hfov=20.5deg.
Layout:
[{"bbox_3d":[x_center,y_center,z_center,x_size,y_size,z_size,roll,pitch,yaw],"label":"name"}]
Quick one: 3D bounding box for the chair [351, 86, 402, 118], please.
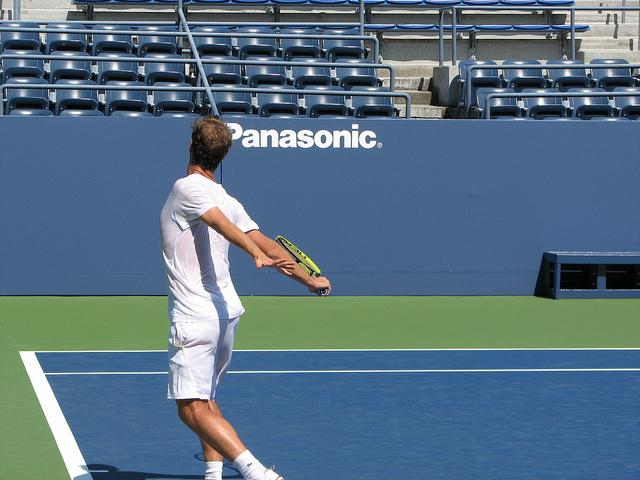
[{"bbox_3d":[0.916,-2.314,29.521,0.618,0.687,0.593,1,-5,-10],"label":"chair"}]
